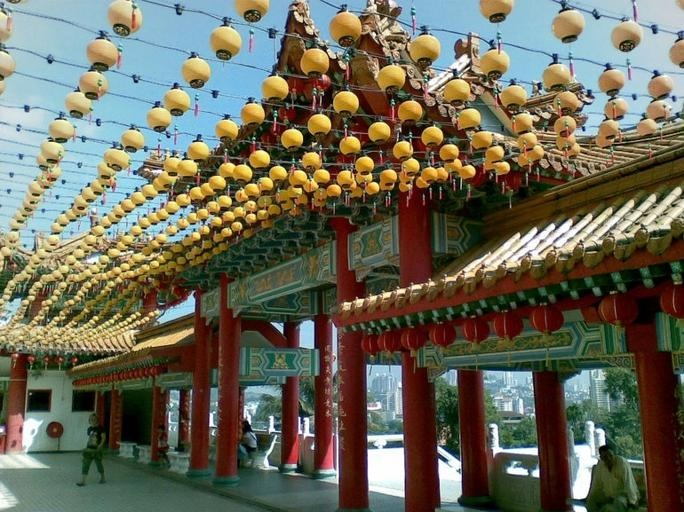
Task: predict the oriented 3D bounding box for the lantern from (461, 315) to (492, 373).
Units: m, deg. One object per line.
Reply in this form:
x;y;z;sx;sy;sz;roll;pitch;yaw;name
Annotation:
1.724;1.002;9.541;0.382;0.766;0.377;2;-9;3;lantern

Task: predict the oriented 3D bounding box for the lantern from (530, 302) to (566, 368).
2.475;0.831;8.746;0.367;0.426;0.477;-6;-18;14;lantern

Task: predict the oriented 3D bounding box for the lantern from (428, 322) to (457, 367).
1.332;1.101;9.687;0.351;0.399;0.369;-2;0;2;lantern

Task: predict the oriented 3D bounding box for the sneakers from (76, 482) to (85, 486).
-6.205;5.416;17.100;0.193;0.079;0.293;4;-18;-21;sneakers

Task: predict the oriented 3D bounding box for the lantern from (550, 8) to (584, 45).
2.506;-2.568;8.048;0.315;0.388;0.247;-14;-21;34;lantern

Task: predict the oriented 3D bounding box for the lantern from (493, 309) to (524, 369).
2.058;0.900;8.991;0.355;0.416;0.345;-5;-17;10;lantern

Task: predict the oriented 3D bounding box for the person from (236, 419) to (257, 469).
-2.638;5.178;20.066;0.497;1.268;0.988;0;-17;-8;person

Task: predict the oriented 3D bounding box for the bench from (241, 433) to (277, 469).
-2.352;5.495;20.436;0.959;0.893;0.923;0;-10;9;bench

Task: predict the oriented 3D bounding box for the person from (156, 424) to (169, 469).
-5.222;5.523;21.090;0.365;1.220;1.011;2;-18;-14;person
